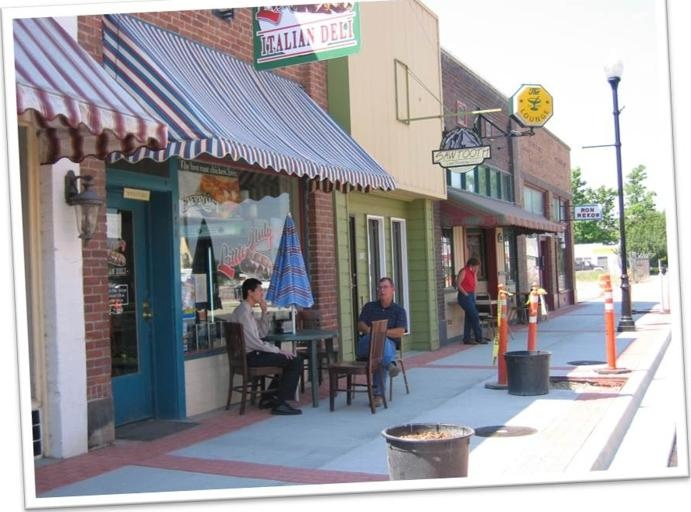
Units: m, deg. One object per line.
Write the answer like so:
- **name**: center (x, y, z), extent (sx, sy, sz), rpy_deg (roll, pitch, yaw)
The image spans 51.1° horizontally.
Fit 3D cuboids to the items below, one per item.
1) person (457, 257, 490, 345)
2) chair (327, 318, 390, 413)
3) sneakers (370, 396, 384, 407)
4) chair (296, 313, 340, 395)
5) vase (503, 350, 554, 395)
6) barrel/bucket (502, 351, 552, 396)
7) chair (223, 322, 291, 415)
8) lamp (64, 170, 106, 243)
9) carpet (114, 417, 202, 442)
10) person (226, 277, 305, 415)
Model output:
- **person**: center (3.151, 1.139, 18.307), extent (0.645, 2.153, 0.996), rpy_deg (-3, -2, 8)
- **chair**: center (0.198, 1.614, 10.668), extent (0.783, 1.296, 0.821), rpy_deg (0, -3, 10)
- **sneakers**: center (0.453, 2.143, 10.578), extent (0.193, 0.124, 0.352), rpy_deg (0, -3, 7)
- **chair**: center (-0.585, 1.587, 12.231), extent (0.663, 1.124, 0.687), rpy_deg (13, -3, -37)
- **vase**: center (2.731, 1.771, 10.835), extent (0.593, 0.543, 0.677), rpy_deg (-1, 2, 13)
- **barrel/bucket**: center (2.781, 1.768, 11.011), extent (0.595, 0.543, 0.675), rpy_deg (-1, 2, 1)
- **chair**: center (-1.361, 1.626, 10.676), extent (0.790, 1.320, 0.698), rpy_deg (0, -1, -42)
- **lamp**: center (-3.138, -0.608, 8.681), extent (0.395, 0.872, 0.217), rpy_deg (-3, -2, 19)
- **carpet**: center (-2.582, 2.331, 9.705), extent (1.022, 0.088, 1.018), rpy_deg (-3, -2, 6)
- **person**: center (-1.171, 1.318, 10.761), extent (0.977, 1.970, 1.016), rpy_deg (-2, -2, -6)
